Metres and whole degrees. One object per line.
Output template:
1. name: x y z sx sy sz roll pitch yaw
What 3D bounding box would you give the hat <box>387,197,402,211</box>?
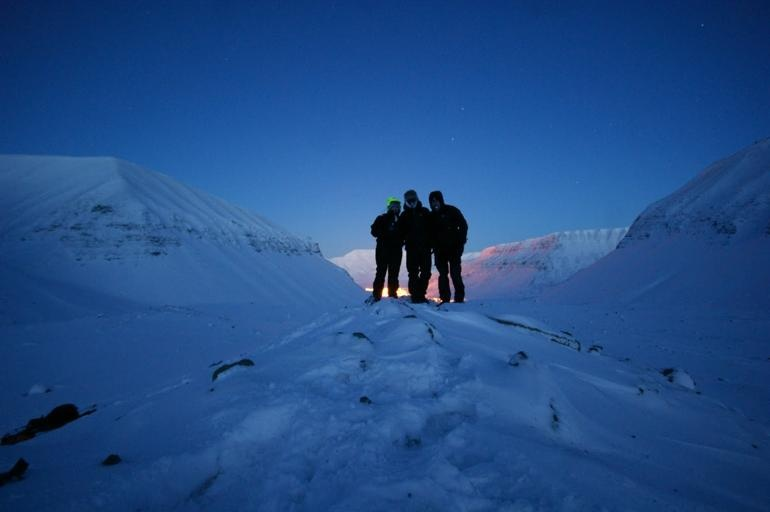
1. hat: 0.274 -1.592 15.373 0.361 0.327 0.576 1 7 -2

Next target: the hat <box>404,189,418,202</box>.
1. hat: 0.776 -1.836 15.503 0.354 0.329 0.204 4 7 18
